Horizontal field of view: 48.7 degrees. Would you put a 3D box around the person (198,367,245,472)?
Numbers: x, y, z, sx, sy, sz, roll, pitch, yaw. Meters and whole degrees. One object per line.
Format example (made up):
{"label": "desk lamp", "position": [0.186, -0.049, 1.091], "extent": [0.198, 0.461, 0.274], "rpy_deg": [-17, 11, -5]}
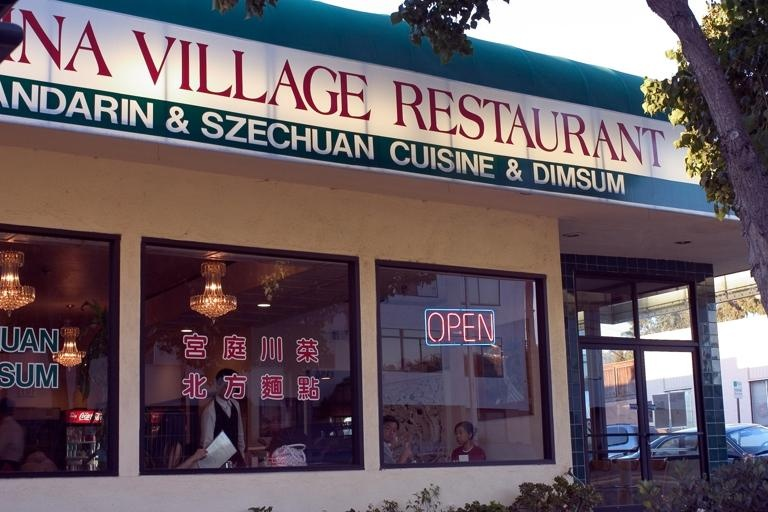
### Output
{"label": "person", "position": [-1.873, 1.868, 9.782], "extent": [0.515, 1.119, 0.167], "rpy_deg": [1, -15, -18]}

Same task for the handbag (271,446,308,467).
{"label": "handbag", "position": [-1.138, 2.355, 9.986], "extent": [0.304, 0.147, 0.280], "rpy_deg": [-10, -17, 22]}
